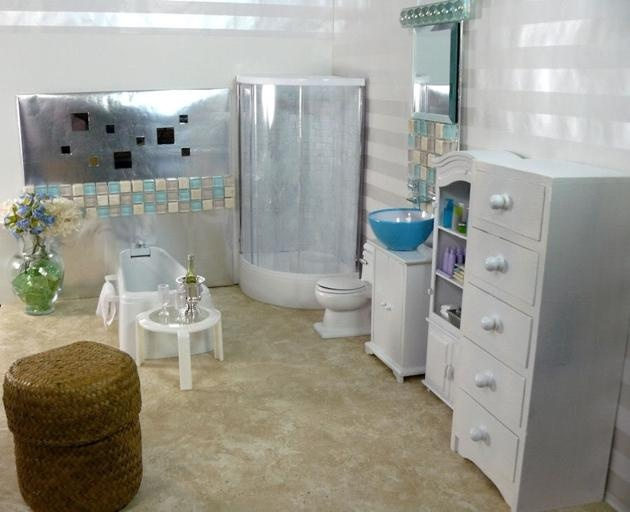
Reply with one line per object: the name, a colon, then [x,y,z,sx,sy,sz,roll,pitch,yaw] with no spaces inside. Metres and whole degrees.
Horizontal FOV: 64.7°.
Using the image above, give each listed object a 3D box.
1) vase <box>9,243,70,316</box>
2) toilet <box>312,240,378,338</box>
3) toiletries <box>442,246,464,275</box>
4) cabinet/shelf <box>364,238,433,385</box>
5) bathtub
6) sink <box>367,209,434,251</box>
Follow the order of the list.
vase: [-2.319,0.203,4.375,0.460,0.706,0.517,2,6,-3]
toilet: [0.245,0.417,4.054,0.487,0.404,0.414,-2,9,-10]
toiletries: [0.801,0.030,2.875,0.092,0.172,0.112,-10,18,-29]
cabinet/shelf: [0.567,0.379,3.281,0.344,0.920,0.713,-2,14,-11]
bathtub: [-1.324,0.335,4.016,0.577,0.430,1.095,-5,19,-19]
sink: [0.580,-0.150,3.376,0.452,0.236,0.462,4,-8,-35]
